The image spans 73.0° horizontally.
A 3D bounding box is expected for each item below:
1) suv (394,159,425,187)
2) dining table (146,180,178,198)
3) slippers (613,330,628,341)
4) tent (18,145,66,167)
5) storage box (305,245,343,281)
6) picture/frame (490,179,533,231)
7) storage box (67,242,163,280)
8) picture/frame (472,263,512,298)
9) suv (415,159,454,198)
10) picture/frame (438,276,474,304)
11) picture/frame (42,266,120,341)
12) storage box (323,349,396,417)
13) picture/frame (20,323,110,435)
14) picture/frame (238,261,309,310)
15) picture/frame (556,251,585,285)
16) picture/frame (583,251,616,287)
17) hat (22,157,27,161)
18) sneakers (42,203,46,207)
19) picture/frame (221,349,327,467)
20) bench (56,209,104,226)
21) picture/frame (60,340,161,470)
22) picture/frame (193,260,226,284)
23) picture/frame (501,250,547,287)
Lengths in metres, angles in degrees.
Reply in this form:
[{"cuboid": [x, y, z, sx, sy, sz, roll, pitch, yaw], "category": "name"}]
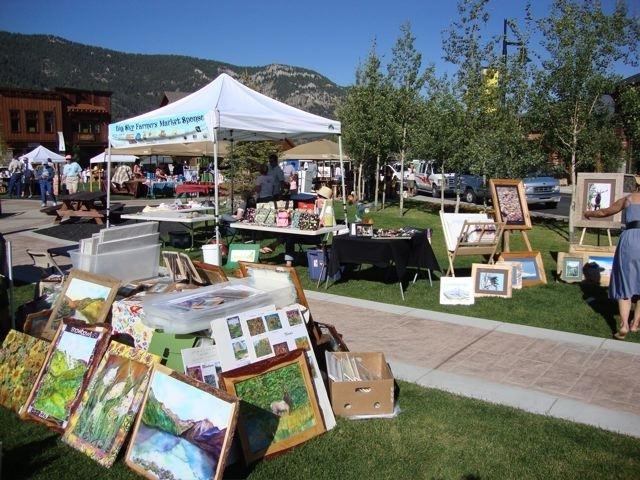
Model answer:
[{"cuboid": [6.495, -4.716, 30.422, 1.539, 1.597, 2.732, -2, 6, -14], "category": "suv"}, {"cuboid": [-9.778, -3.176, 26.652, 1.198, 0.889, 1.405, -4, 22, -17], "category": "dining table"}, {"cuboid": [4.244, 1.350, 6.085, 0.109, 0.056, 0.152, 1, 0, 2], "category": "slippers"}, {"cuboid": [-17.398, -5.106, 26.433, 2.294, 1.215, 2.376, 1, 7, 8], "category": "tent"}, {"cuboid": [0.020, 0.564, 9.151, 0.662, 0.522, 0.712, 19, 0, 15], "category": "storage box"}, {"cuboid": [4.225, -0.777, 9.577, 0.884, 1.074, 0.694, -2, 9, -16], "category": "picture/frame"}, {"cuboid": [-2.935, 0.302, 6.272, 0.669, 0.465, 1.087, 3, 6, 32], "category": "storage box"}, {"cuboid": [3.198, 0.784, 8.013, 0.560, 0.513, 0.053, 3, -4, 1], "category": "picture/frame"}, {"cuboid": [7.434, -3.967, 28.560, 1.862, 1.994, 4.352, -5, 10, -18], "category": "suv"}, {"cuboid": [2.405, 0.904, 7.593, 0.416, 0.375, 0.058, 3, -9, -6], "category": "picture/frame"}, {"cuboid": [-2.590, 0.692, 4.669, 0.598, 0.651, 0.039, 7, -41, -12], "category": "picture/frame"}, {"cuboid": [0.401, 1.396, 4.307, 0.680, 0.427, 0.697, 1, 10, -2], "category": "storage box"}, {"cuboid": [-2.438, 1.241, 4.041, 0.811, 0.795, 0.709, 3, -21, 23], "category": "picture/frame"}, {"cuboid": [-0.511, 0.466, 4.815, 0.894, 0.426, 0.224, 8, 11, 32], "category": "picture/frame"}, {"cuboid": [5.196, 0.600, 8.900, 0.622, 0.760, 0.056, 0, 0, 3], "category": "picture/frame"}, {"cuboid": [5.510, 0.611, 8.534, 0.724, 0.764, 0.052, 2, -5, 12], "category": "picture/frame"}, {"cuboid": [-18.650, -5.073, 27.154, 0.285, 0.172, 0.300, 0, 12, -17], "category": "hat"}, {"cuboid": [-13.622, -1.691, 21.260, 0.153, 0.175, 0.392, 0, 3, -15], "category": "sneakers"}, {"cuboid": [-0.358, 1.355, 3.548, 0.803, 0.721, 0.042, -5, -25, -36], "category": "picture/frame"}, {"cuboid": [-9.058, -0.875, 16.125, 2.344, 0.532, 1.355, 11, 14, 43], "category": "bench"}, {"cuboid": [-1.685, 1.365, 3.474, 0.703, 0.984, 0.043, 13, -21, 27], "category": "picture/frame"}, {"cuboid": [-1.307, 0.412, 5.283, 0.435, 0.286, 0.088, 16, 37, 40], "category": "picture/frame"}, {"cuboid": [4.095, 0.606, 8.696, 0.635, 0.622, 0.259, -1, -6, -10], "category": "picture/frame"}]
